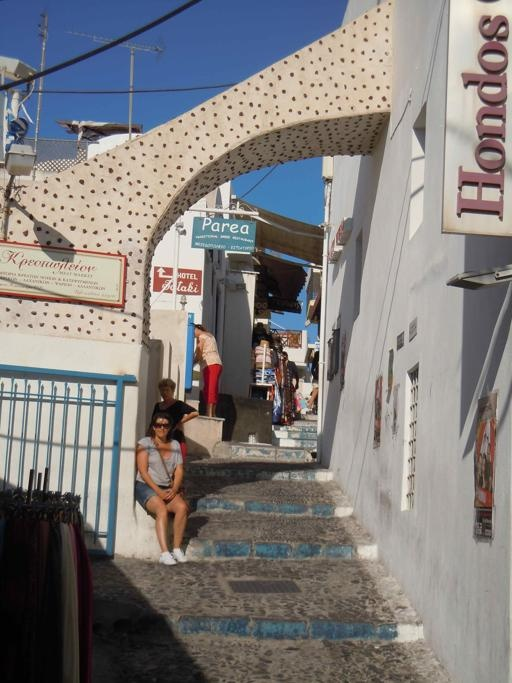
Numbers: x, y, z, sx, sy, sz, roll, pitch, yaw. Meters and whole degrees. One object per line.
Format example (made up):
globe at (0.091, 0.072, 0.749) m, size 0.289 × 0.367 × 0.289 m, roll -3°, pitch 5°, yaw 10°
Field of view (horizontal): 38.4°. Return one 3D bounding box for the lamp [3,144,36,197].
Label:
lamp at (-2.009, -1.484, 6.228) m, size 0.261 × 0.306 × 0.453 m, roll 3°, pitch -39°, yaw -23°

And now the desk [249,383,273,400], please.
desk at (0.163, 1.171, 16.853) m, size 0.401 × 0.508 × 0.337 m, roll 0°, pitch -8°, yaw 5°

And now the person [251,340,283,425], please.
person at (0.294, 0.878, 16.882) m, size 0.700 × 1.928 × 1.395 m, roll 2°, pitch 2°, yaw 0°

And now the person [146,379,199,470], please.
person at (-0.959, 1.025, 7.866) m, size 0.548 × 1.317 × 0.322 m, roll 2°, pitch -36°, yaw -3°

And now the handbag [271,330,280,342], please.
handbag at (0.528, -0.070, 18.118) m, size 0.172 × 0.281 × 0.287 m, roll 1°, pitch -40°, yaw 1°

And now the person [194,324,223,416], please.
person at (-0.808, 0.512, 12.376) m, size 0.438 × 1.534 × 1.029 m, roll 1°, pitch 2°, yaw -5°

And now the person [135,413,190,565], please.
person at (-0.851, 1.309, 6.613) m, size 0.468 × 1.244 × 0.803 m, roll 1°, pitch 2°, yaw -8°

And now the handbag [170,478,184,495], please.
handbag at (-0.725, 1.336, 6.734) m, size 0.175 × 0.084 × 0.281 m, roll 0°, pitch -22°, yaw 4°

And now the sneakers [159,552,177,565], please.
sneakers at (-0.759, 1.879, 6.340) m, size 0.158 × 0.114 × 0.185 m, roll 2°, pitch 3°, yaw -3°
